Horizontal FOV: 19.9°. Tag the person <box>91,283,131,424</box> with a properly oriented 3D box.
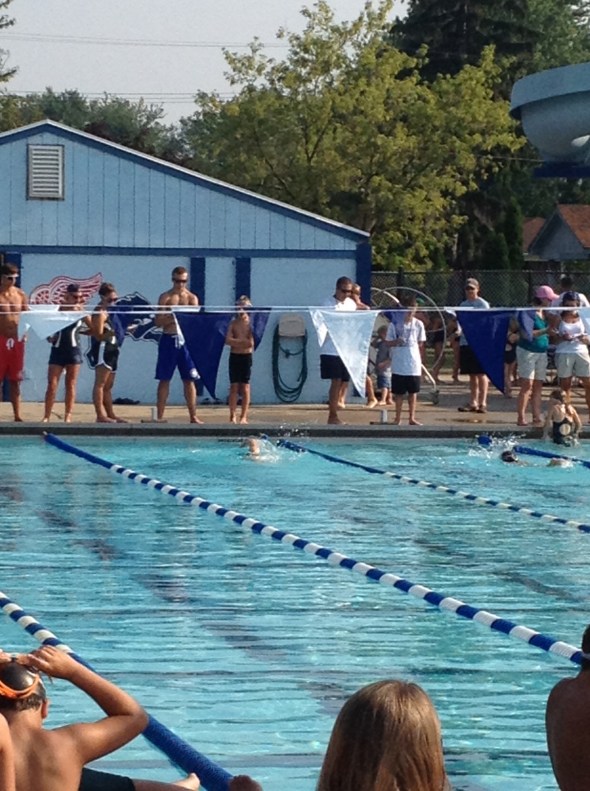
[{"bbox_3d":[-1.794,-0.415,16.138,0.354,1.297,0.676,2,0,-6],"label":"person"}]

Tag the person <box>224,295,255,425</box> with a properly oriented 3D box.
[{"bbox_3d":[-0.545,-0.353,16.385,0.270,1.218,0.597,2,0,-2],"label":"person"}]

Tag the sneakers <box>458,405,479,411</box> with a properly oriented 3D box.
[{"bbox_3d":[1.843,0.135,18.008,0.162,0.078,0.062,3,4,28],"label":"sneakers"}]

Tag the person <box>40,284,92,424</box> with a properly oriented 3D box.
[{"bbox_3d":[-2.285,-0.440,16.760,0.418,1.292,2.230,2,0,-9],"label":"person"}]
